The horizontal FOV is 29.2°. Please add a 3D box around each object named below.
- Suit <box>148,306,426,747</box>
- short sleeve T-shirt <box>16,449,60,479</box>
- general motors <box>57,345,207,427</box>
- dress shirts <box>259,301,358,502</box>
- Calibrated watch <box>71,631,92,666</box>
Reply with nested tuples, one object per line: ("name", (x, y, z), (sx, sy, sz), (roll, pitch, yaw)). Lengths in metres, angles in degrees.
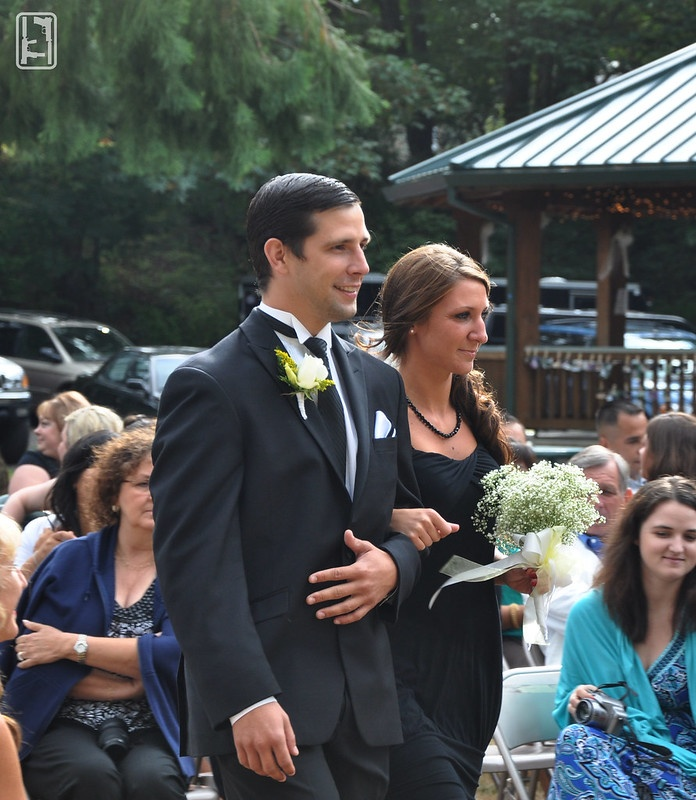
("Suit", (-0.157, 0.395, 4.117), (0.847, 1.329, 0.514), (-2, 7, -44))
("short sleeve T-shirt", (-1.793, 0.375, 7.743), (0.241, 0.154, 0.160), (2, 7, 15))
("general motors", (-2.073, -0.196, 14.725), (2.321, 0.645, 1.098), (-3, -2, 43))
("dress shirts", (-0.111, 0.007, 4.232), (0.196, 0.572, 0.364), (-23, -5, 5))
("Calibrated watch", (-1.056, 0.986, 5.296), (0.059, 0.098, 0.050), (2, 5, -4))
